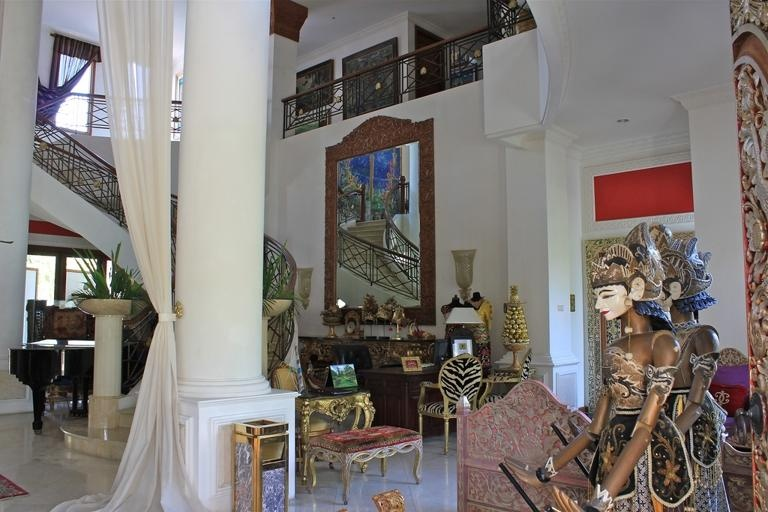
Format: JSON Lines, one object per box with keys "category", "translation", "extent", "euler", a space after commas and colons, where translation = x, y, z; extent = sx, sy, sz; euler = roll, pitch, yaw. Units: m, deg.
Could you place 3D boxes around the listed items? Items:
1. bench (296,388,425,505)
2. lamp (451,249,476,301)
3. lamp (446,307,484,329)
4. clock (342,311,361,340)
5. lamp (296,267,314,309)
{"category": "bench", "translation": [-0.413, 1.957, 6.145], "extent": [1.067, 0.911, 1.113], "euler": [3, -8, -38]}
{"category": "lamp", "translation": [1.363, 0.315, 9.372], "extent": [0.344, 0.820, 0.387], "euler": [-5, -8, 8]}
{"category": "lamp", "translation": [1.231, 0.919, 8.503], "extent": [0.448, 0.435, 0.319], "euler": [2, -8, -16]}
{"category": "clock", "translation": [-0.615, 1.333, 10.976], "extent": [0.425, 0.751, 0.465], "euler": [0, -3, -9]}
{"category": "lamp", "translation": [-1.650, 0.671, 11.760], "extent": [0.368, 0.836, 0.898], "euler": [-2, -8, -9]}
